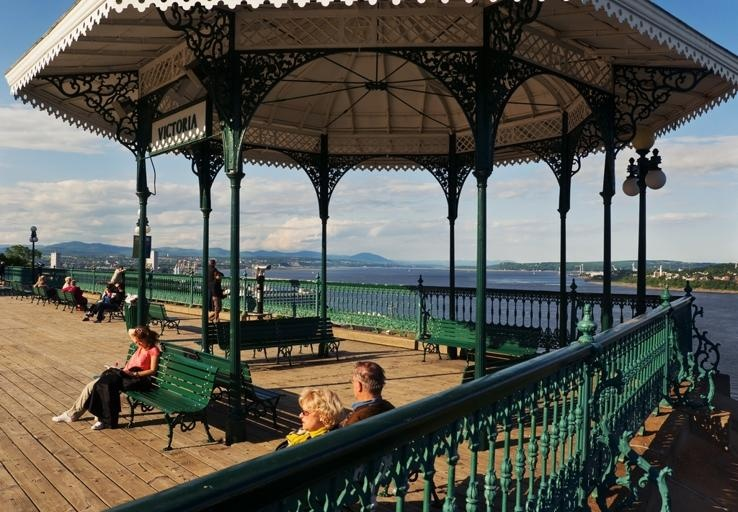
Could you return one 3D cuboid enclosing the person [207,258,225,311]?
[{"bbox_3d":[-4.487,0.862,20.027,0.366,1.546,1.829,1,-2,-13],"label":"person"}]

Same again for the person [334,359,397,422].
[{"bbox_3d":[-0.007,1.609,7.917,0.428,0.832,0.864,9,15,38],"label":"person"}]

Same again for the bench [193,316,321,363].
[{"bbox_3d":[-1.929,1.782,14.732,1.810,0.698,0.558,-6,-24,16],"label":"bench"}]

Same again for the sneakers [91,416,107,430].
[{"bbox_3d":[-4.195,2.527,10.571,0.199,0.194,0.344,2,-2,-40],"label":"sneakers"}]

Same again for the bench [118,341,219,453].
[{"bbox_3d":[-2.965,2.100,10.439,0.929,1.329,1.631,2,-2,-35],"label":"bench"}]

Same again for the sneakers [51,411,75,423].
[{"bbox_3d":[-4.771,2.491,10.734,0.312,0.158,0.164,4,-3,-11],"label":"sneakers"}]

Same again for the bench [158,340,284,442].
[{"bbox_3d":[-2.292,2.148,11.442,0.654,1.028,2.310,0,-2,-34],"label":"bench"}]

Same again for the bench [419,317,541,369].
[{"bbox_3d":[2.147,1.691,13.939,1.396,0.700,3.089,1,-2,-27],"label":"bench"}]
